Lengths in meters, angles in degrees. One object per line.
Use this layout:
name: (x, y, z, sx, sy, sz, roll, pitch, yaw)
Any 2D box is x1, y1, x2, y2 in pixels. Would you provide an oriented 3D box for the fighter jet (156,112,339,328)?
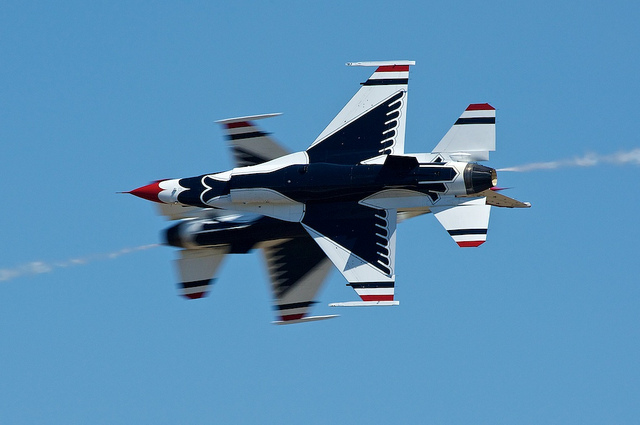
fighter jet: (-1.389, 0.004, 50.073, 10.102, 3.278, 8.037, -6, 82, -52)

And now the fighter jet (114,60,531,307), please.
fighter jet: (-0.349, -1.384, 48.377, 13.898, 8.128, 2.489, -3, 77, 2)
